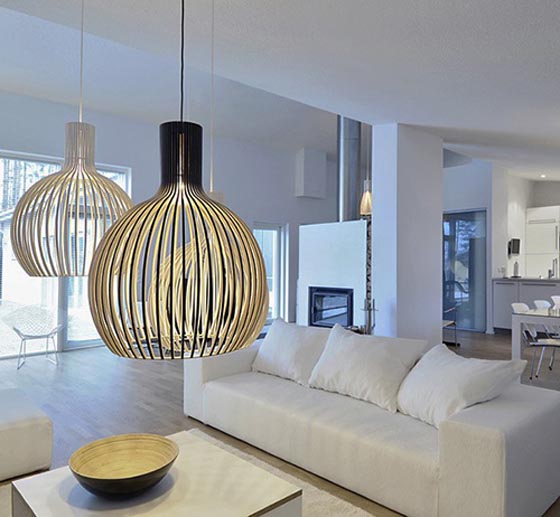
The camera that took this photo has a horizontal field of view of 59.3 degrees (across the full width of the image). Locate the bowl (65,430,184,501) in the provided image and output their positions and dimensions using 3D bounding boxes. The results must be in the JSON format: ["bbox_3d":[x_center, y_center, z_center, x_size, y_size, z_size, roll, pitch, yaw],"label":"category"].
[{"bbox_3d":[-0.723,0.955,2.273,0.438,0.167,0.511,1,1,-2],"label":"bowl"}]
